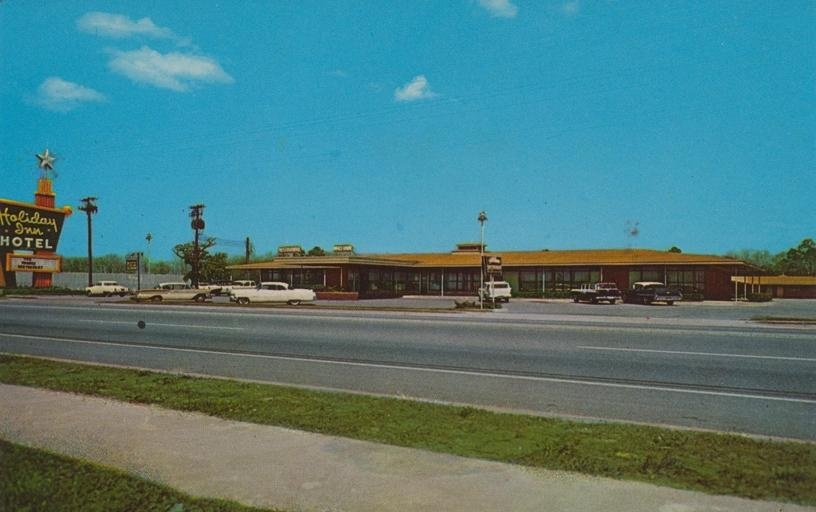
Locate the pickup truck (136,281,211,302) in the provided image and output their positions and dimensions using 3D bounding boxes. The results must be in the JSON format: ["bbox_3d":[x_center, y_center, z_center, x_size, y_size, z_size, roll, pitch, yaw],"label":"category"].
[{"bbox_3d":[-16.304,2.586,50.688,4.036,1.241,2.050,-1,1,-22],"label":"pickup truck"}]

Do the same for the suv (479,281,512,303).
[{"bbox_3d":[6.670,2.783,53.956,1.802,1.375,2.812,0,2,-10],"label":"suv"}]

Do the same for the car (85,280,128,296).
[{"bbox_3d":[-26.518,2.859,62.935,3.247,1.010,1.620,0,-2,27],"label":"car"}]
